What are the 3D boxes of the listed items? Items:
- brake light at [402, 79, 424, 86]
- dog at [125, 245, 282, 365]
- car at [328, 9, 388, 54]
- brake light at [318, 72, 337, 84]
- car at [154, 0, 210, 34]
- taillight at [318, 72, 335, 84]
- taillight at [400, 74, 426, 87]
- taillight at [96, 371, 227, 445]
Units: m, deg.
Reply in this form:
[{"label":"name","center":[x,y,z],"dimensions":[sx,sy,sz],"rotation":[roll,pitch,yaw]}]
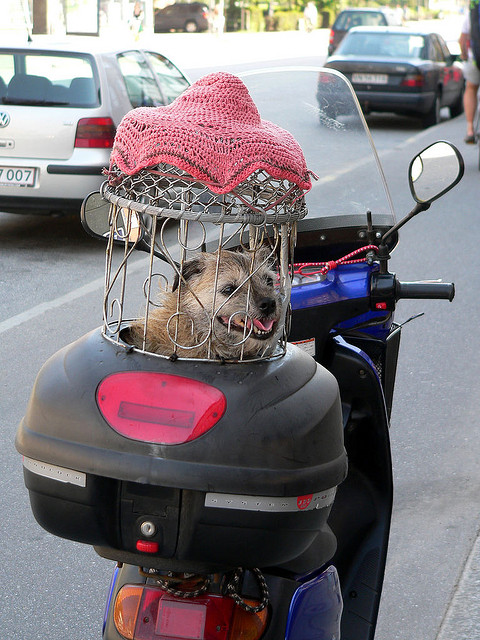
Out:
[{"label":"brake light","center":[3.634,-5.011,15.578],"dimensions":[0.219,0.170,0.046],"rotation":[2,13,2]},{"label":"dog","center":[-0.071,-0.033,1.711],"dimensions":[0.270,0.186,0.352],"rotation":[9,17,21]},{"label":"car","center":[3.973,-9.419,24.978],"dimensions":[2.357,1.695,3.376],"rotation":[2,29,11]},{"label":"brake light","center":[0.383,-1.074,3.262],"dimensions":[0.070,0.064,0.017],"rotation":[-8,-22,26]},{"label":"car","center":[-4.245,-21.747,53.042],"dimensions":[5.085,1.787,2.298],"rotation":[2,25,-2]},{"label":"taillight","center":[0.382,-1.075,3.263],"dimensions":[0.069,0.054,0.016],"rotation":[6,-24,16]},{"label":"taillight","center":[3.647,-5.051,15.520],"dimensions":[0.341,0.191,0.311],"rotation":[5,21,6]},{"label":"taillight","center":[-0.138,0.148,1.261],"dimensions":[0.225,0.078,0.133],"rotation":[0,21,-2]}]
